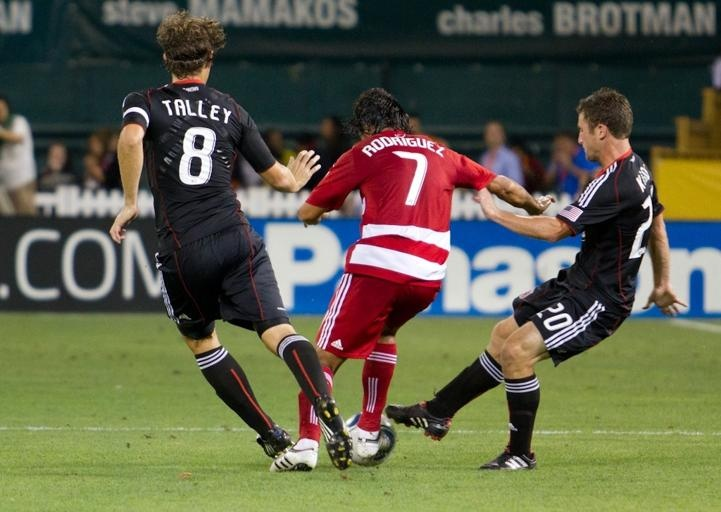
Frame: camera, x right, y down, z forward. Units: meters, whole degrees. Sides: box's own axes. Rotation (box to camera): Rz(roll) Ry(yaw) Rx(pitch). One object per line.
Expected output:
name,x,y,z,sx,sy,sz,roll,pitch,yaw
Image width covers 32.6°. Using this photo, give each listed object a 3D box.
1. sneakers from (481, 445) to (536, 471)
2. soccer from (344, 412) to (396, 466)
sneakers,1.165,1.599,9.627,0.441,0.179,0.163,1,-15,-4
soccer,0.016,1.404,9.903,0.447,0.472,0.368,10,3,3
